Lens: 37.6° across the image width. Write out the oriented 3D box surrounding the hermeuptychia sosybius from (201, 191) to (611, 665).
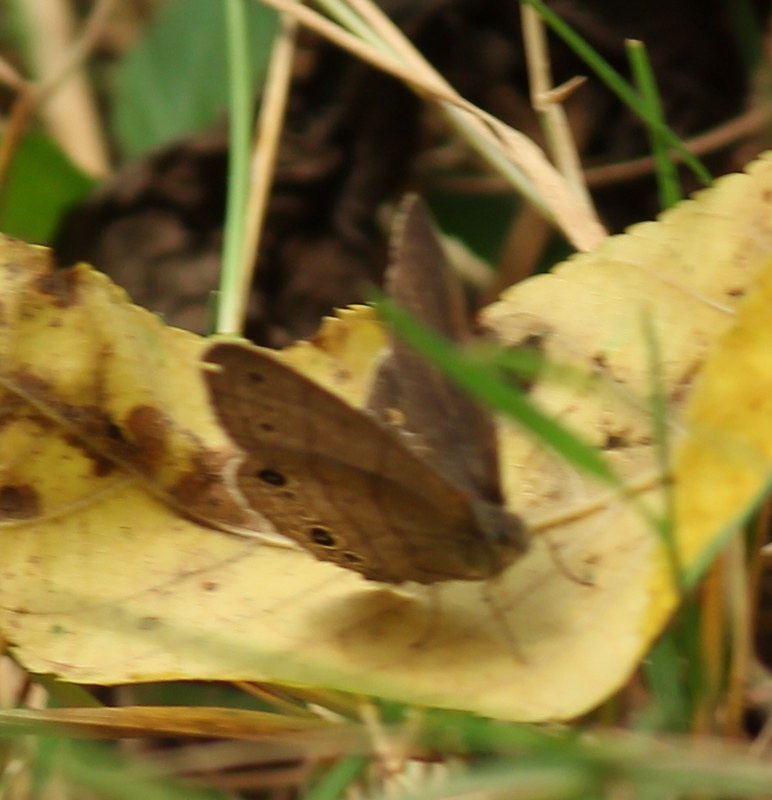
[{"bbox_3d":[-0.023,0.035,0.791,0.199,0.194,0.282,-12,50,5],"label":"hermeuptychia sosybius"}]
